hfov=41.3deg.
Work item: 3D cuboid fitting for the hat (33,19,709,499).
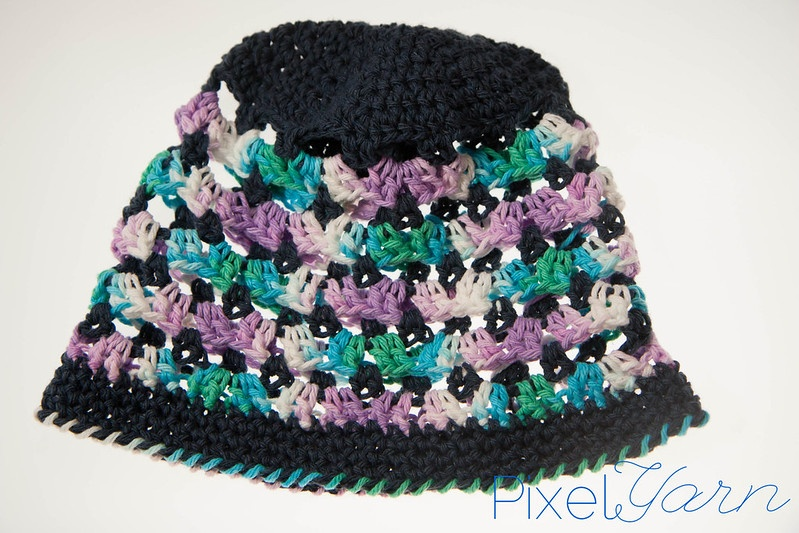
[{"bbox_3d":[-0.057,-0.086,2.473,1.651,0.940,0.801,-5,15,1],"label":"hat"}]
